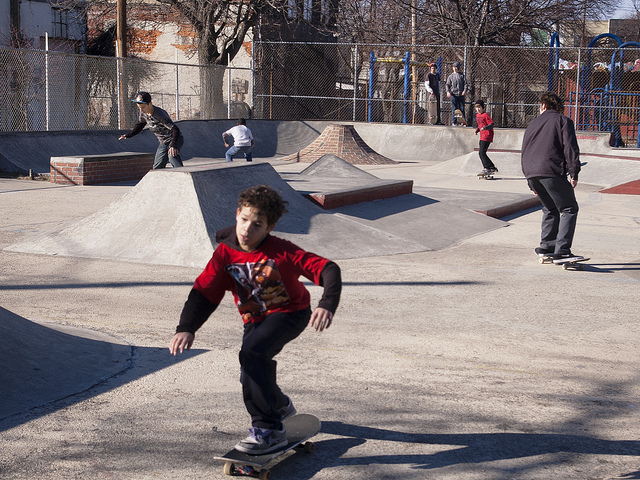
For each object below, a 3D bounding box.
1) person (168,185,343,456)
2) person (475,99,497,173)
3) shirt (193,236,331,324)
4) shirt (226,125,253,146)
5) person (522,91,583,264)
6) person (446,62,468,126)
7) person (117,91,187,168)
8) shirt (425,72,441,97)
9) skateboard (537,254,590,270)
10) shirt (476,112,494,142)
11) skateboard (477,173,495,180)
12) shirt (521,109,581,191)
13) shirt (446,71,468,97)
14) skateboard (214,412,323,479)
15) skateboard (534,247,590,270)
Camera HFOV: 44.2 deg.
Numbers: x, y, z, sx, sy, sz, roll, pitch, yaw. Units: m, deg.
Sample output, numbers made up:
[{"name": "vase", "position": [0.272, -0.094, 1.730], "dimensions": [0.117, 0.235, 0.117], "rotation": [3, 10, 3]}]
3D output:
[{"name": "person", "position": [-0.426, 0.523, 5.316], "dimensions": [1.131, 1.759, 0.453], "rotation": [0, 7, -2]}, {"name": "person", "position": [3.938, -2.393, 18.477], "dimensions": [0.506, 1.653, 1.533], "rotation": [2, 7, 12]}, {"name": "shirt", "position": [-0.342, 0.268, 5.486], "dimensions": [1.263, 0.592, 0.581], "rotation": [-8, -4, 35]}, {"name": "shirt", "position": [-1.869, -2.485, 18.813], "dimensions": [0.530, 0.491, 0.379], "rotation": [1, 7, 5]}, {"name": "person", "position": [2.860, -0.751, 9.578], "dimensions": [0.530, 2.078, 0.805], "rotation": [-4, 8, -29]}, {"name": "person", "position": [4.026, -4.422, 23.255], "dimensions": [0.572, 1.490, 1.132], "rotation": [3, 8, 21]}, {"name": "person", "position": [-2.546, -1.721, 12.382], "dimensions": [0.776, 1.171, 1.042], "rotation": [-1, 7, -13]}, {"name": "shirt", "position": [3.510, -4.748, 24.248], "dimensions": [0.384, 0.742, 0.469], "rotation": [1, 7, 8]}, {"name": "skateboard", "position": [2.970, 0.263, 9.614], "dimensions": [0.214, 0.105, 0.771], "rotation": [0, 1, -42]}, {"name": "shirt", "position": [3.799, -2.571, 18.038], "dimensions": [0.340, 0.671, 0.574], "rotation": [1, 7, 9]}, {"name": "skateboard", "position": [3.974, -1.503, 18.836], "dimensions": [0.343, 0.119, 0.387], "rotation": [1, 6, 11]}, {"name": "shirt", "position": [2.822, -1.091, 9.513], "dimensions": [0.777, 0.961, 0.345], "rotation": [5, 9, 36]}, {"name": "shirt", "position": [4.051, -4.564, 23.206], "dimensions": [0.591, 0.719, 0.395], "rotation": [1, 7, 5]}, {"name": "skateboard", "position": [-0.312, 1.376, 5.297], "dimensions": [0.278, 0.128, 0.877], "rotation": [9, 14, 33]}, {"name": "skateboard", "position": [2.959, 0.233, 9.661], "dimensions": [0.226, 0.112, 0.766], "rotation": [0, 2, -29]}]
